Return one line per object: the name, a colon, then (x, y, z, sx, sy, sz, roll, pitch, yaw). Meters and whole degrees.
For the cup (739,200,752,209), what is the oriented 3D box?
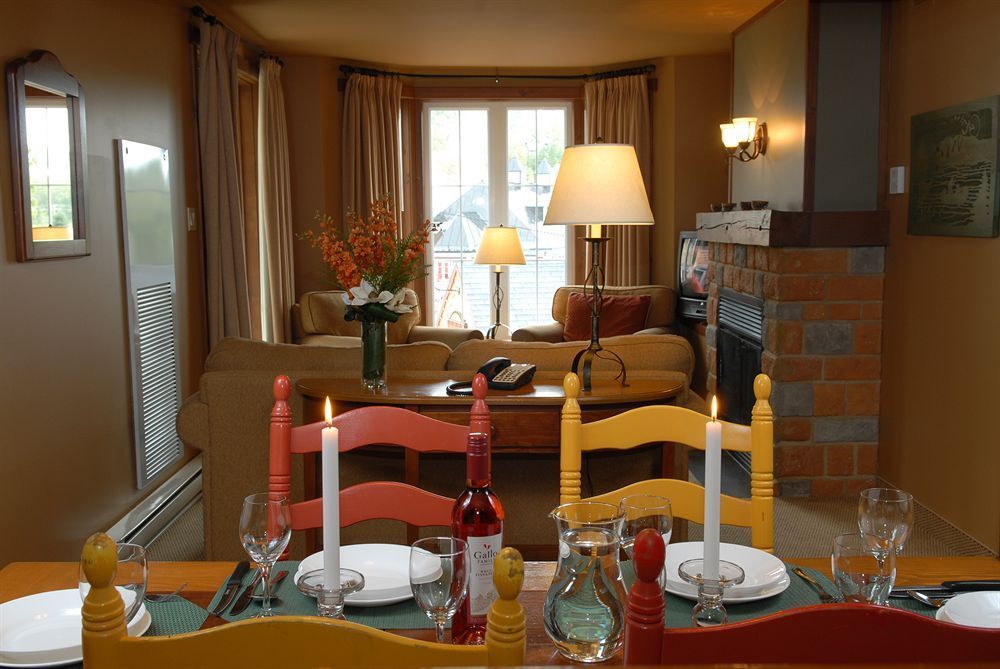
cup: (1.588, -0.833, 4.882, 0.063, 0.062, 0.081, 1, -4, -3)

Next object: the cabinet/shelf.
cabinet/shelf: (1.644, -0.642, 4.592, 0.654, 0.227, 1.223, -6, 10, -25)

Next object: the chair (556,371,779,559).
chair: (0.446, 0.327, 2.185, 0.488, 0.863, 0.485, 0, -2, 3)

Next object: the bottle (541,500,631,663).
bottle: (0.164, 0.467, 1.534, 0.218, 0.341, 0.232, 0, 2, 0)

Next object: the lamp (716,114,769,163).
lamp: (1.709, -1.346, 5.253, 0.265, 0.264, 0.312, -4, 5, 0)

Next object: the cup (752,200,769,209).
cup: (1.639, -0.810, 4.745, 0.086, 0.061, 0.087, -1, 6, 0)

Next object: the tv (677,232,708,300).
tv: (1.643, -0.598, 6.517, 0.220, 0.557, 0.613, -1, 9, 10)

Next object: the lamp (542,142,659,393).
lamp: (0.453, -0.325, 3.338, 0.423, 0.973, 0.973, 0, 9, 11)

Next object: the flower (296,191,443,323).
flower: (-0.536, -0.303, 3.164, 0.457, 0.534, 0.351, -4, 9, -10)
